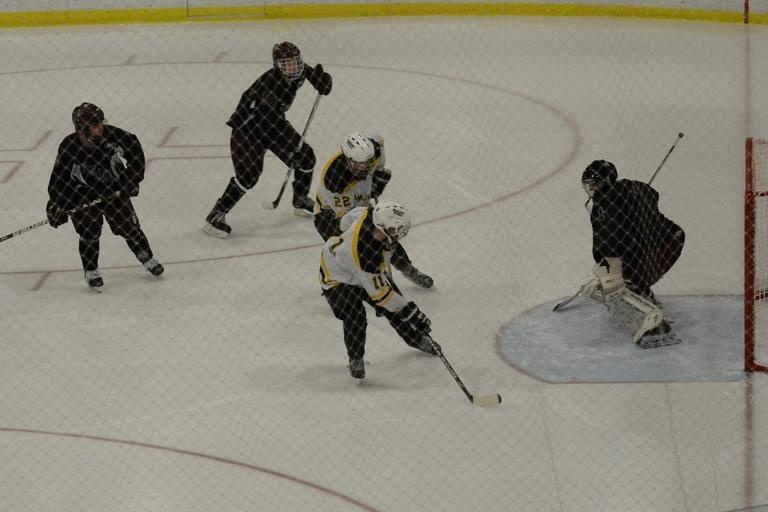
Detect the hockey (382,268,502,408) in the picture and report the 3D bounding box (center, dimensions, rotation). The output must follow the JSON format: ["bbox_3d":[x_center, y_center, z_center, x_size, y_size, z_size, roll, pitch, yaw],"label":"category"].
[{"bbox_3d":[0.523,0.614,6.570,0.367,0.063,1.221,-42,58,-10],"label":"hockey"}]

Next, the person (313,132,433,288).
[{"bbox_3d":[-0.179,-0.497,7.820,1.028,1.252,0.835,4,65,3],"label":"person"}]

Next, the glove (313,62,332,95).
[{"bbox_3d":[-0.524,-1.524,8.637,0.262,0.159,0.081,52,29,12],"label":"glove"}]

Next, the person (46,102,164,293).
[{"bbox_3d":[-2.274,-0.480,8.007,0.813,1.395,0.501,-12,31,-18],"label":"person"}]

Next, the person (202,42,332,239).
[{"bbox_3d":[-1.069,-0.986,9.221,1.272,1.975,0.948,10,44,0],"label":"person"}]

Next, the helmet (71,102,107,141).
[{"bbox_3d":[-2.300,-1.069,7.889,0.227,0.294,0.294,-4,16,-8],"label":"helmet"}]

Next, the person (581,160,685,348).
[{"bbox_3d":[1.843,-0.030,7.474,0.768,1.133,0.801,3,30,8],"label":"person"}]

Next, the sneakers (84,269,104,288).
[{"bbox_3d":[-2.337,0.182,8.107,0.098,0.118,0.172,-35,61,-19],"label":"sneakers"}]

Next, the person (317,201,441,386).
[{"bbox_3d":[-0.017,0.215,7.359,0.758,1.317,0.967,-20,38,-28],"label":"person"}]

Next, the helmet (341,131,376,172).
[{"bbox_3d":[-0.209,-0.751,7.620,0.235,0.273,0.252,-36,-4,-13],"label":"helmet"}]

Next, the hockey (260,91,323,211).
[{"bbox_3d":[-0.845,-0.896,9.051,0.189,1.364,0.103,29,-5,-27],"label":"hockey"}]

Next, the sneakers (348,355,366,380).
[{"bbox_3d":[-0.190,0.792,7.247,0.093,0.161,0.064,-8,-4,-4],"label":"sneakers"}]

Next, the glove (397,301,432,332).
[{"bbox_3d":[0.223,0.436,7.268,0.182,0.236,0.074,-46,23,-23],"label":"glove"}]

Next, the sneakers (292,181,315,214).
[{"bbox_3d":[-0.734,-0.524,9.011,0.299,0.300,0.159,-3,40,-4],"label":"sneakers"}]
